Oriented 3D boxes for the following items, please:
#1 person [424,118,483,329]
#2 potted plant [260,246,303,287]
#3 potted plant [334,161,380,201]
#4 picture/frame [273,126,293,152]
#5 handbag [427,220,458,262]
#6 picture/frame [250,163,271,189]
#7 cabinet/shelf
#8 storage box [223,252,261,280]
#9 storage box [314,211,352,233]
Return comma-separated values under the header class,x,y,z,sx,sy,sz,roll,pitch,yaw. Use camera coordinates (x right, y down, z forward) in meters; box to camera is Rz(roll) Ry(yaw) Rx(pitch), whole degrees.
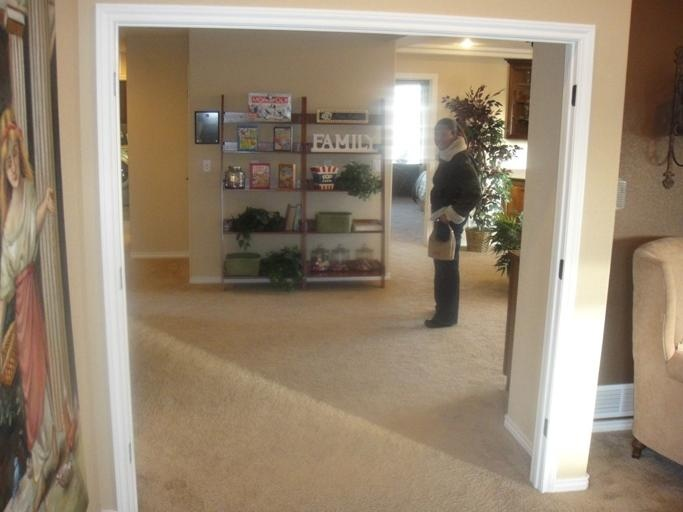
class,x,y,z,sx,sy,sz,roll,pitch,yaw
person,1.032,-0.258,5.144,0.470,1.927,0.390,6,14,23
potted plant,-0.715,0.148,6.637,0.498,0.412,0.529,-1,14,-8
potted plant,0.192,-0.873,6.550,0.556,0.416,0.266,1,13,2
picture/frame,-0.672,-1.320,6.396,0.231,0.369,0.180,1,17,-2
handbag,0.926,-0.159,5.077,0.245,0.403,0.149,12,27,16
picture/frame,-0.948,-0.915,6.457,0.230,0.323,0.168,1,17,-4
cabinet/shelf,-0.500,-0.821,6.546,1.960,2.374,0.538,1,6,-3
storage box,-1.157,0.110,6.506,0.342,0.185,0.257,0,6,-7
storage box,-0.097,-0.388,6.554,0.231,0.190,0.335,-2,11,-7
